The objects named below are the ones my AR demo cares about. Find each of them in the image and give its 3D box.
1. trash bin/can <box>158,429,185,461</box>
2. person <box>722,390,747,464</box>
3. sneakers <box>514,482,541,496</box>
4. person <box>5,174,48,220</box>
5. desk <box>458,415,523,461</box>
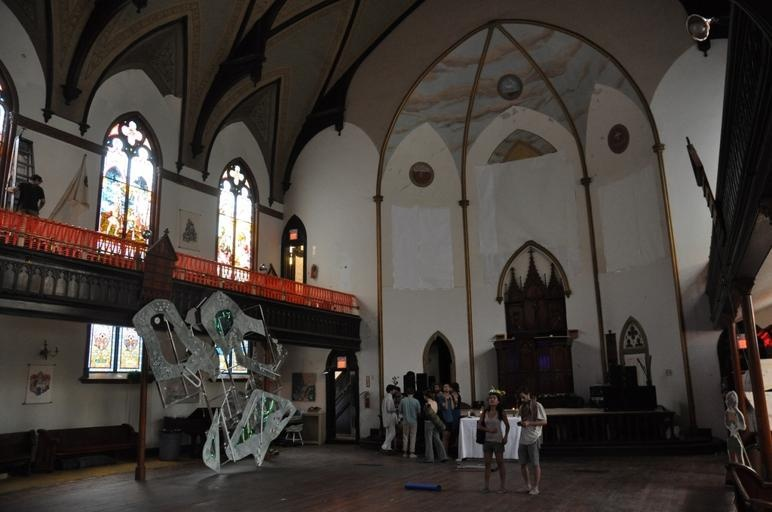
[{"bbox_3d":[-6.515,5.735,16.986,0.725,0.833,0.742,6,-10,-32],"label":"trash bin/can"},{"bbox_3d":[7.143,3.528,11.377,0.402,1.472,2.253,-10,-18,30],"label":"person"},{"bbox_3d":[3.029,5.077,12.038,0.438,0.206,0.271,1,-16,26],"label":"sneakers"},{"bbox_3d":[-9.324,-1.607,14.603,0.839,1.390,0.603,-12,-18,34],"label":"person"},{"bbox_3d":[2.902,4.981,16.004,1.386,0.916,1.521,-2,-10,12],"label":"desk"}]
